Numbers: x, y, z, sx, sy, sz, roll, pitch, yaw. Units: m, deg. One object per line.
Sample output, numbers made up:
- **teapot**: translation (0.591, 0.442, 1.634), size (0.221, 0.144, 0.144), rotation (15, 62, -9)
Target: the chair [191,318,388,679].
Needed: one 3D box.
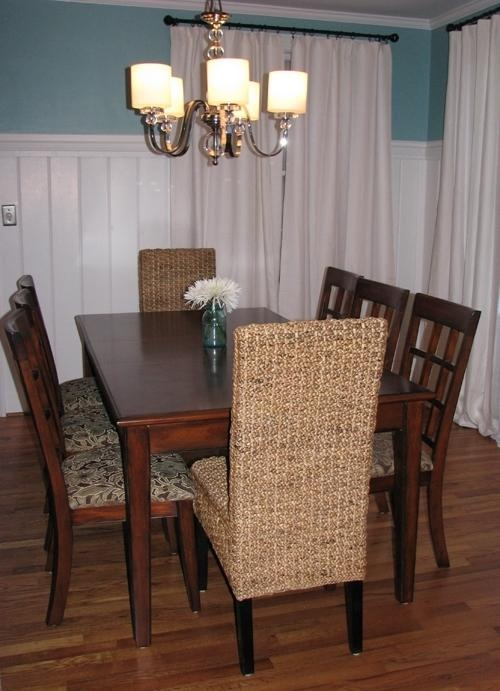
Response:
- **chair**: translation (0.092, 0.375, 1.404), size (0.421, 0.916, 0.504), rotation (0, 9, -4)

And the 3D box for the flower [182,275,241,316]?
- **flower**: translation (-0.142, -0.187, 2.140), size (0.225, 0.151, 0.222), rotation (-4, 14, -12)
